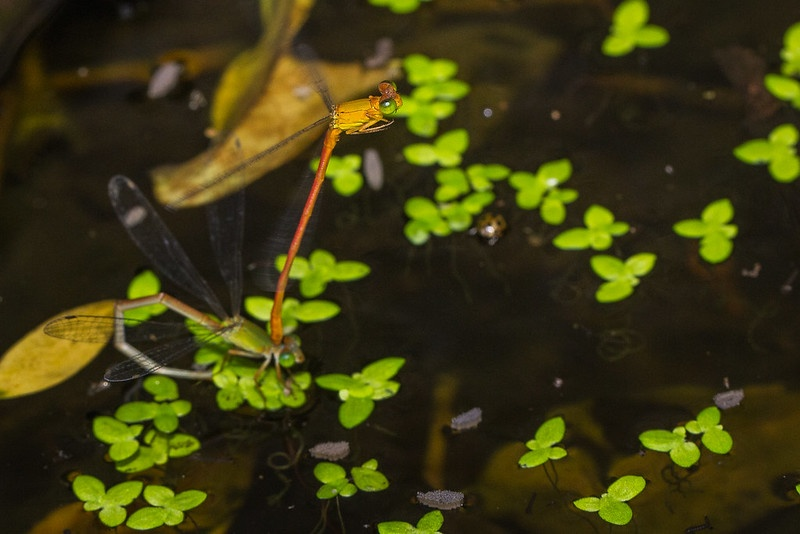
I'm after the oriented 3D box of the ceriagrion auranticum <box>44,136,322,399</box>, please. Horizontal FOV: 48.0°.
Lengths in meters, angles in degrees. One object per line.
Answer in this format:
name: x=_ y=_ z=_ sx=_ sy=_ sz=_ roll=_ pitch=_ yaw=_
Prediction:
ceriagrion auranticum: x=-0.467 y=0.034 z=1.886 sx=0.542 sy=0.123 sz=0.440 roll=2 pitch=71 yaw=3
